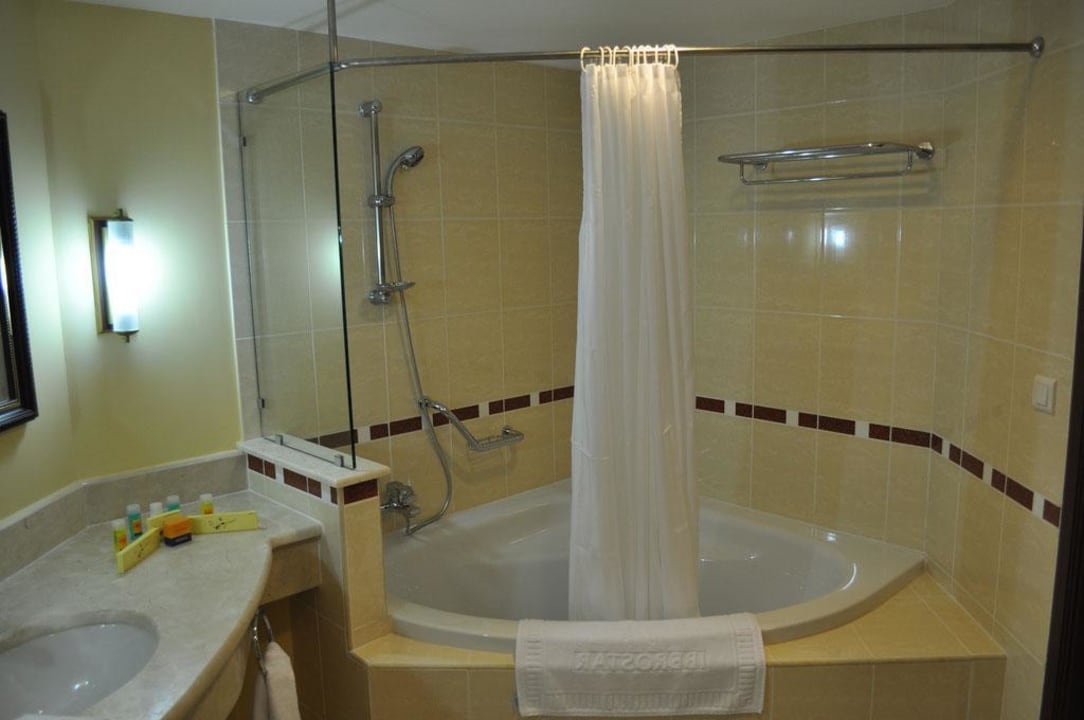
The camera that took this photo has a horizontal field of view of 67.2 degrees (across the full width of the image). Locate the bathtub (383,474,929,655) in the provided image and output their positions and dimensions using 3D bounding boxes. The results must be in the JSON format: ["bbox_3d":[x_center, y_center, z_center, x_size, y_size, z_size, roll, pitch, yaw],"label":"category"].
[{"bbox_3d":[0.449,1.000,3.822,2.308,0.469,1.322,-5,11,-11],"label":"bathtub"}]

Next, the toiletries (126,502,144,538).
[{"bbox_3d":[-1.593,0.634,3.191,0.066,0.136,0.143,-9,12,-29],"label":"toiletries"}]

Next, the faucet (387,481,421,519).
[{"bbox_3d":[-0.656,0.654,3.878,0.173,0.192,0.130,4,8,30],"label":"faucet"}]

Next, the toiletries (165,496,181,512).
[{"bbox_3d":[-1.507,0.586,3.341,0.061,0.062,0.063,1,0,22],"label":"toiletries"}]

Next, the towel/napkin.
[{"bbox_3d":[0.369,1.184,3.122,0.930,0.372,0.121,-3,11,0],"label":"towel/napkin"}]

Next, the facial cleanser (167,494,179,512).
[{"bbox_3d":[-1.484,0.584,3.321,0.056,0.056,0.057,0,2,9],"label":"facial cleanser"}]

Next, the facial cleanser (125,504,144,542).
[{"bbox_3d":[-1.586,0.636,3.178,0.063,0.136,0.172,-9,12,-28],"label":"facial cleanser"}]

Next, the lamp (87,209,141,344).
[{"bbox_3d":[-1.723,-0.338,3.375,0.162,0.511,0.109,-3,1,-39],"label":"lamp"}]
